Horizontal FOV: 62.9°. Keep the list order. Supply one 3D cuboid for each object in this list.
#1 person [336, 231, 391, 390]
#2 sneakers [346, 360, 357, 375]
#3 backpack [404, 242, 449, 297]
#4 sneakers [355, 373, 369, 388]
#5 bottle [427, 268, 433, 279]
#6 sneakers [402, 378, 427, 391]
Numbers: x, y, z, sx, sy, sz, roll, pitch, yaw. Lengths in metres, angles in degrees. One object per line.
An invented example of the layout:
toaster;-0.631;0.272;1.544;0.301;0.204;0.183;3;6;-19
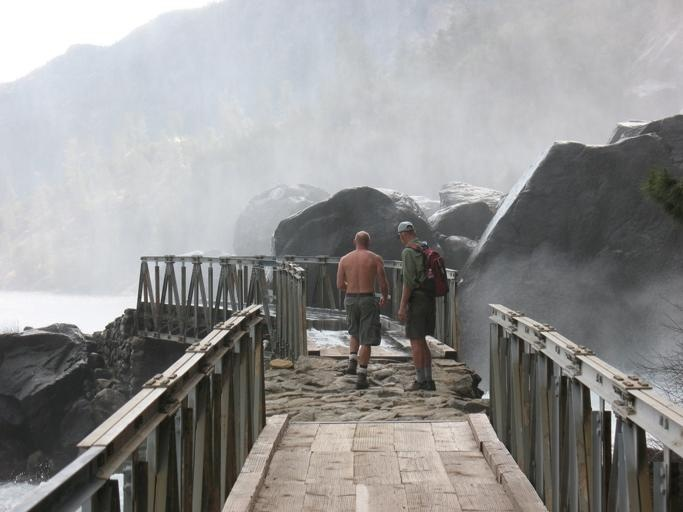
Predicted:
person;0.253;0.629;6.905;0.617;1.866;0.787;0;1;1
sneakers;0.116;1.407;7.241;0.164;0.197;0.172;0;1;-20
backpack;0.986;0.200;6.376;0.341;0.668;0.405;-7;-5;15
sneakers;0.249;1.476;6.701;0.153;0.181;0.114;0;1;3
bottle;0.987;0.197;6.238;0.079;0.088;0.022;3;1;22
sneakers;0.871;1.535;6.676;0.292;0.144;0.111;0;-2;29
